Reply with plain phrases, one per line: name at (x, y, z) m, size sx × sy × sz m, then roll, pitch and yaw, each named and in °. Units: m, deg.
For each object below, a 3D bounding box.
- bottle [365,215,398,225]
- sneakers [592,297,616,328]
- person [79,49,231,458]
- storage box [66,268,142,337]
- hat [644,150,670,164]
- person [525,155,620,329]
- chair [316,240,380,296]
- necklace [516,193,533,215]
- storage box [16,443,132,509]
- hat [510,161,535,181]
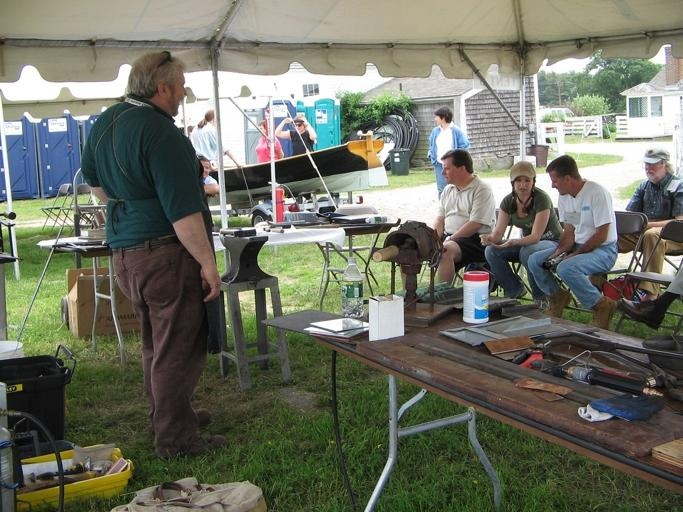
bottle at (0.410, -0.365, 6.193) m, size 0.258 × 0.117 × 0.683 m, roll -3°, pitch 6°, yaw 9°
sneakers at (2.269, 0.481, 5.218) m, size 0.148 × 0.320 × 0.113 m, roll 1°, pitch 17°, yaw -5°
person at (-1.078, 0.026, 3.645) m, size 0.707 × 2.450 × 0.340 m, roll -2°, pitch 7°, yaw 24°
storage box at (-2.427, 0.501, 6.157) m, size 0.741 × 0.657 × 0.613 m, roll -1°, pitch -4°, yaw -36°
hat at (3.206, -1.012, 6.112) m, size 0.299 × 0.139 × 0.206 m, roll -3°, pitch 6°, yaw 8°
person at (2.051, -0.146, 5.370) m, size 0.686 × 1.509 × 0.650 m, roll -1°, pitch 8°, yaw 30°
chair at (0.102, 0.158, 7.062) m, size 0.651 × 0.950 × 0.707 m, roll 3°, pitch -6°, yaw -31°
necklace at (1.771, -0.495, 5.801) m, size 0.133 × 0.171 × 0.095 m, roll -1°, pitch 4°, yaw 16°
storage box at (-1.449, 1.206, 3.295) m, size 0.427 × 0.104 × 0.270 m, roll -2°, pitch 5°, yaw -23°
hat at (1.723, -0.816, 5.736) m, size 0.165 × 0.114 × 0.232 m, roll 0°, pitch -5°, yaw 14°
